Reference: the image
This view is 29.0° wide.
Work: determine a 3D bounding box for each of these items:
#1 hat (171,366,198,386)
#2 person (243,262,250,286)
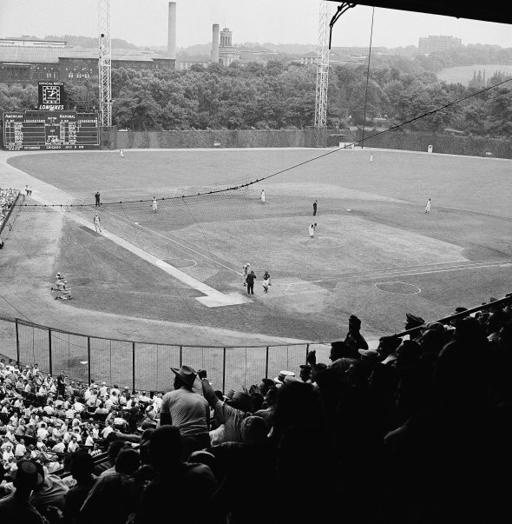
[{"bbox_3d":[-0.967,1.509,13.041,0.292,0.112,0.254,48,9,24],"label":"hat"},{"bbox_3d":[-0.393,0.489,36.232,0.291,0.929,0.434,-3,25,-9],"label":"person"}]
